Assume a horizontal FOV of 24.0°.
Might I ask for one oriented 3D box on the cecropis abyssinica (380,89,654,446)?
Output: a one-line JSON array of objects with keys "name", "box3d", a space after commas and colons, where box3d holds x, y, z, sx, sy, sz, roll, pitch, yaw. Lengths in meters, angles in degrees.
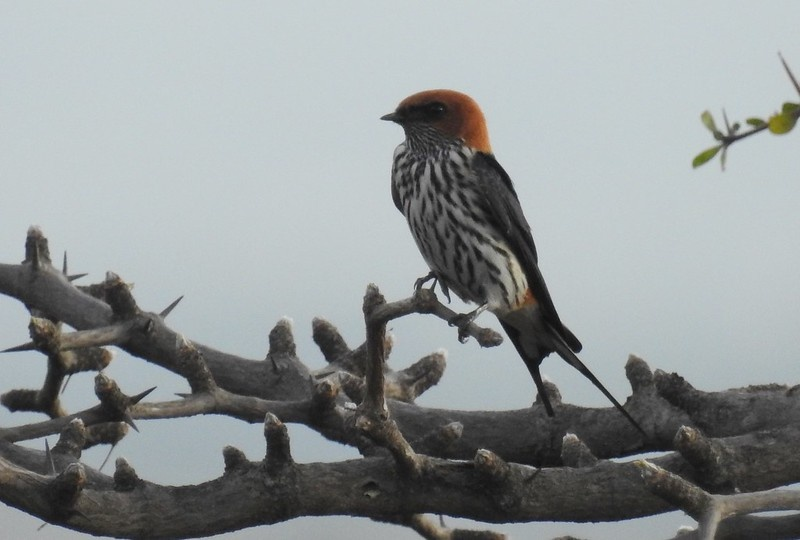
[{"name": "cecropis abyssinica", "box3d": [0.730, -0.172, 18.168, 1.599, 3.098, 0.815, 10, -30, -33]}]
